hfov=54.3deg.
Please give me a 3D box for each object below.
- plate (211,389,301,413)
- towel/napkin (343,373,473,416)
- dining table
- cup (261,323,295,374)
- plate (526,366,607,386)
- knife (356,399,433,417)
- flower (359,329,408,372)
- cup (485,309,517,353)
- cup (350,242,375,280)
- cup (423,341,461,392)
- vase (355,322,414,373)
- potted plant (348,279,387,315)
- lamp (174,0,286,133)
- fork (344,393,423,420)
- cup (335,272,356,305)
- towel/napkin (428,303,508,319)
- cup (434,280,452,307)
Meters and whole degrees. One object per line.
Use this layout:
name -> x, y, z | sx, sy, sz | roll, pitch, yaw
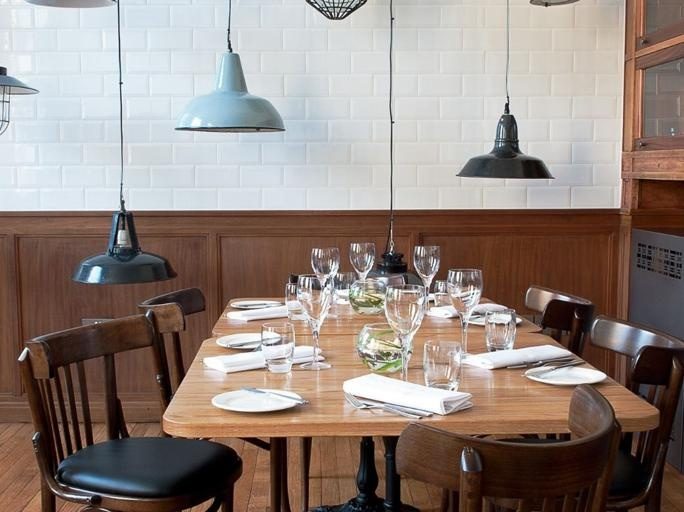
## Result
plate -> -0.242, 0.421, 1.959 | 0.265, 0.024, 0.158 | -4, 8, -3
towel/napkin -> 0.190, 0.405, 1.965 | 0.240, 0.044, 0.140 | 3, 5, 36
dining table -> 0.202, 0.491, 2.269 | 1.070, 0.501, 0.705 | -1, 7, -4
cup -> -0.202, 0.298, 2.149 | 0.142, 0.166, 0.147 | -1, 0, 0
plate -> 0.705, 0.384, 2.144 | 0.125, 0.012, 0.121 | -4, 7, -10
knife -> 0.157, 0.437, 1.918 | 0.233, 0.026, 0.034 | 2, 18, 25
flower -> 0.125, 0.307, 2.202 | 0.145, 0.112, 0.144 | -3, 6, -16
cup -> 0.559, 0.264, 2.451 | 0.139, 0.153, 0.132 | -2, 0, 0
cup -> 0.102, 0.021, 3.241 | 0.109, 0.161, 0.247 | -4, 8, 0
cup -> 0.298, 0.333, 2.088 | 0.143, 0.157, 0.135 | 0, 6, 0
vase -> 0.134, 0.306, 2.270 | 0.167, 0.130, 0.169 | -5, 10, -36
potted plant -> 0.115, 0.182, 2.954 | 0.158, 0.120, 0.146 | 0, 3, -19
lamp -> -0.544, -0.785, 3.089 | 0.400, 0.414, 0.339 | 0, 10, 26
fork -> 0.127, 0.435, 1.925 | 0.209, 0.029, 0.033 | 8, -2, 21
cup -> 0.015, 0.148, 3.131 | 0.137, 0.136, 0.133 | 0, 8, 0
towel/napkin -> 0.537, 0.242, 2.972 | 0.188, 0.037, 0.139 | -2, 1, -10
cup -> 0.399, 0.156, 2.746 | 0.101, 0.102, 0.103 | -2, 0, 0
